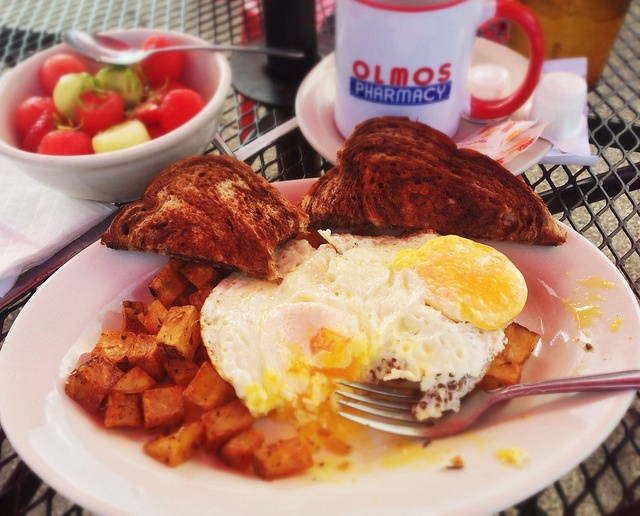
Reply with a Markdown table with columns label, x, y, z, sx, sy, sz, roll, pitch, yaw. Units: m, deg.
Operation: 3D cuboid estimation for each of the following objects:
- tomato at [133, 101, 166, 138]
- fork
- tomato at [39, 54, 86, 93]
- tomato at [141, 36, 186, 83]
| label | x | y | z | sx | sy | sz | roll | pitch | yaw |
| --- | --- | --- | --- | --- | --- | --- | --- | --- | --- |
| tomato | -0.453 | -0.375 | 1.621 | 0.086 | 0.092 | 0.099 | 6 | 91 | 7 |
| fork | 0.342 | 0.291 | 1.166 | 0.599 | 0.080 | 0.092 | -5 | 41 | 9 |
| tomato | -0.722 | -0.517 | 1.679 | 0.106 | 0.105 | 0.117 | 2 | 95 | -1 |
| tomato | -0.442 | -0.553 | 1.678 | 0.107 | 0.118 | 0.147 | -3 | 97 | -10 |
